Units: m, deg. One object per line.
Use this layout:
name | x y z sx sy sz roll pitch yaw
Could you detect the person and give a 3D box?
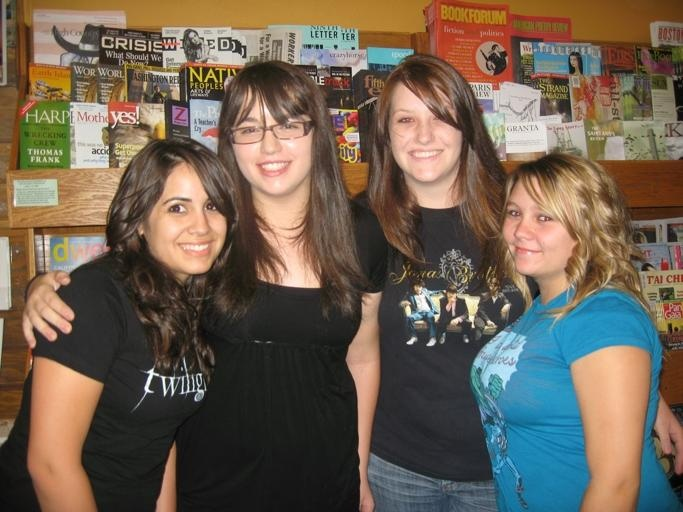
person | -0.098 0.126 2.283 2.408 0.914 0.685 0 -9 -2
